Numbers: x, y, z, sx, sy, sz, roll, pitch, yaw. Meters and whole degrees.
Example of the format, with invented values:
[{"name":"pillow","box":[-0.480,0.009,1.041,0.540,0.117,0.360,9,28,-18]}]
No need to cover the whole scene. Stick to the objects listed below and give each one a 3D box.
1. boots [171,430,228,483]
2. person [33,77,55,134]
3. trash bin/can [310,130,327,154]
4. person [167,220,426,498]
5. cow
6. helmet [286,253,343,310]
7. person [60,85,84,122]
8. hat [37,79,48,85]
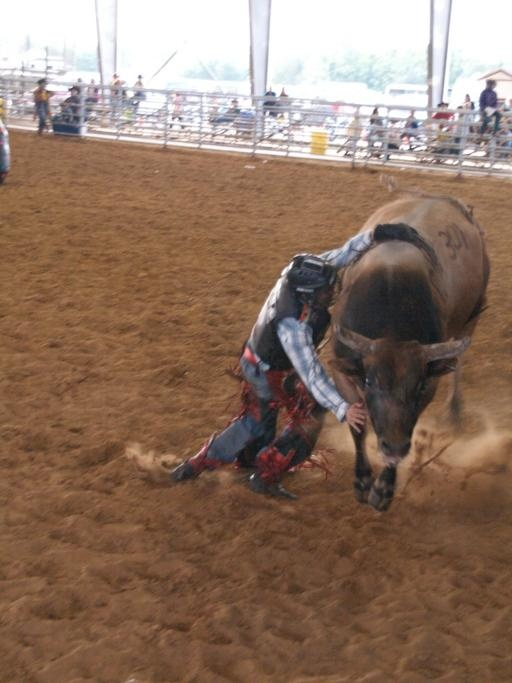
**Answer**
[{"name":"boots","box":[-0.346,0.608,3.244,0.188,0.136,0.443,-45,6,-40]},{"name":"person","box":[-4.449,-4.950,13.184,0.369,1.163,1.352,-4,15,-16]},{"name":"trash bin/can","box":[1.209,-3.850,12.195,0.330,0.456,0.879,2,14,4]},{"name":"person","box":[0.159,0.138,3.395,1.462,1.784,0.958,13,59,4]},{"name":"cow","box":[0.713,0.079,3.085,0.642,1.518,1.960,6,15,17]},{"name":"helmet","box":[0.206,-0.263,2.606,0.260,0.202,0.175,-5,54,-4]},{"name":"person","box":[-3.861,-4.990,13.230,0.450,0.791,0.774,-3,15,-13]},{"name":"hat","box":[-4.238,-5.182,12.561,0.184,0.140,0.158,-1,23,-5]}]
